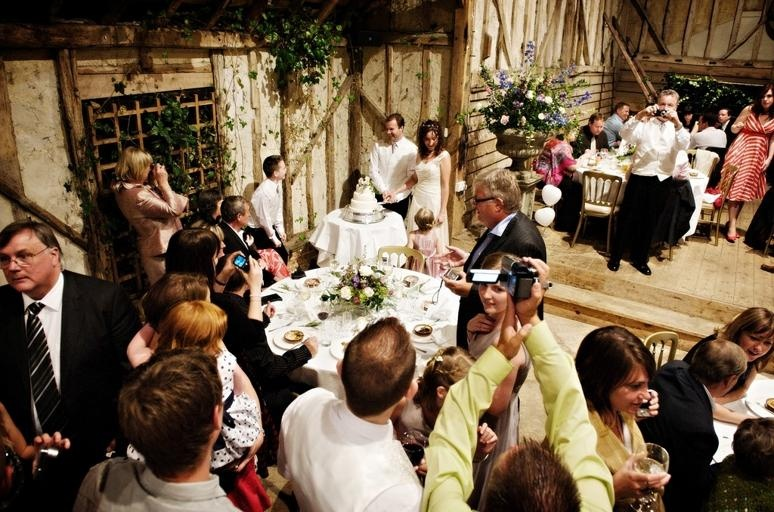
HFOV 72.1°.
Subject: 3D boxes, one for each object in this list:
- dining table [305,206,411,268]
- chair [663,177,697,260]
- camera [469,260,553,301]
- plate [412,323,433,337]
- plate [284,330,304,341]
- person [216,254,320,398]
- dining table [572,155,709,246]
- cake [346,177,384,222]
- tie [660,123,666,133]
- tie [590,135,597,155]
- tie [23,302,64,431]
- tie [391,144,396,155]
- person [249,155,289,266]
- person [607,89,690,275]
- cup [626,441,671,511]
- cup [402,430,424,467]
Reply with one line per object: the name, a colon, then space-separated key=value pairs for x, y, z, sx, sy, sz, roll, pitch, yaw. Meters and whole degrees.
dining table: x=-0.435 y=-0.221 z=6.634 sx=0.780 sy=0.472 sz=0.862 roll=0 pitch=15 yaw=-2
chair: x=3.988 y=-0.546 z=7.265 sx=0.435 sy=1.300 sz=0.495 roll=8 pitch=35 yaw=27
camera: x=0.681 y=0.116 z=2.984 sx=0.258 sy=0.145 sz=0.291 roll=2 pitch=15 yaw=8
plate: x=0.294 y=0.606 z=4.401 sx=0.100 sy=0.032 sz=0.103 roll=-11 pitch=27 yaw=-15
plate: x=-0.767 y=0.650 z=4.355 sx=0.091 sy=0.029 sz=0.094 roll=3 pitch=25 yaw=3
person: x=-0.938 y=0.575 z=4.160 sx=0.513 sy=1.120 sz=0.636 roll=24 pitch=50 yaw=32
dining table: x=3.737 y=-1.006 z=7.873 sx=1.496 sy=0.962 sz=1.555 roll=-22 pitch=36 yaw=-33
cake: x=-0.312 y=-0.782 z=6.913 sx=0.530 sy=0.505 sz=0.529 roll=18 pitch=25 yaw=40
tie: x=3.436 y=-1.591 z=6.614 sx=0.068 sy=0.119 sz=0.076 roll=5 pitch=15 yaw=14
tie: x=3.529 y=-1.896 z=9.101 sx=0.108 sy=0.248 sz=0.711 roll=7 pitch=15 yaw=19
tie: x=-2.275 y=0.689 z=3.484 sx=0.204 sy=0.902 sz=0.056 roll=-6 pitch=-5 yaw=-23
tie: x=0.098 y=-1.521 z=7.523 sx=0.096 sy=0.139 sz=0.020 roll=10 pitch=16 yaw=29
person: x=-1.497 y=-0.578 z=6.606 sx=0.523 sy=1.768 sz=0.499 roll=1 pitch=40 yaw=-5
person: x=3.333 y=-0.934 z=6.866 sx=0.827 sy=2.274 sz=0.749 roll=5 pitch=14 yaw=0
cup: x=1.532 y=1.326 z=3.117 sx=0.161 sy=0.392 sz=0.275 roll=10 pitch=16 yaw=28
cup: x=0.156 y=1.156 z=3.194 sx=0.168 sy=0.124 sz=0.323 roll=9 pitch=2 yaw=5
